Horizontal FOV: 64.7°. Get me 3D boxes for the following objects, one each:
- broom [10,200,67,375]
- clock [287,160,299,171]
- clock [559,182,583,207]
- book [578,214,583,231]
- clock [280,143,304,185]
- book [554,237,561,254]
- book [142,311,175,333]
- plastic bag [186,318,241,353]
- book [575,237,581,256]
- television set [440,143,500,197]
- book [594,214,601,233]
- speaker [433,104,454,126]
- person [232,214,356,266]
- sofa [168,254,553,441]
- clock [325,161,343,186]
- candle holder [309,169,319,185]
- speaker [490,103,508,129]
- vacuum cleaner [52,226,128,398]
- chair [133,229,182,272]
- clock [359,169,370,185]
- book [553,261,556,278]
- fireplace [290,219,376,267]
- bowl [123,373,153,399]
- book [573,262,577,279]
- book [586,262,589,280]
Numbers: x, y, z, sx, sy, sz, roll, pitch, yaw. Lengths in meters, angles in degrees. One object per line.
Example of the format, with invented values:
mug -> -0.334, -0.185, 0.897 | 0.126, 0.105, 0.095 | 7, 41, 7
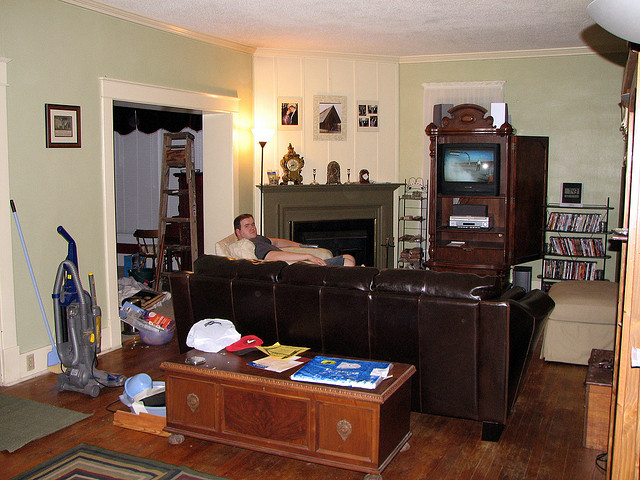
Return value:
broom -> -2.419, 0.558, 4.406 | 0.145, 1.801, 0.404 | 12, 11, 37
clock -> -0.376, -1.029, 6.924 | 0.139, 0.144, 0.029 | -1, 13, -6
clock -> 3.278, -0.558, 6.675 | 0.384, 0.361, 0.305 | 1, 2, 31
book -> 3.312, -0.227, 6.439 | 0.034, 0.209, 0.030 | 19, 3, 34
clock -> -0.382, -1.021, 6.951 | 0.327, 0.552, 0.137 | -2, -6, 3
book -> 3.066, 0.064, 6.544 | 0.039, 0.192, 0.027 | -19, -9, 11
book -> -1.608, 0.803, 5.024 | 0.237, 0.070, 0.171 | 24, 38, 3
plastic bag -> -0.735, 0.622, 3.533 | 0.321, 0.193, 0.266 | 10, 9, 39
book -> 3.293, 0.083, 6.461 | 0.033, 0.218, 0.085 | -8, 15, -30
television set -> 1.951, -0.915, 6.583 | 0.708, 0.676, 0.146 | 5, 14, 22
book -> 3.490, -0.209, 6.357 | 0.079, 0.216, 0.034 | -12, 17, -42
speaker -> 1.651, -1.699, 6.829 | 0.233, 0.289, 0.418 | 3, 12, 12
person -> -0.341, 0.054, 5.037 | 0.934, 0.622, 0.685 | 1, 7, -3
sofa -> 0.259, 0.569, 4.092 | 2.613, 1.029, 1.104 | 3, 18, 23
clock -> 0.188, -0.939, 7.068 | 0.299, 0.334, 0.296 | -1, 2, -17
candle holder -> -0.076, -0.887, 7.036 | 0.115, 0.203, 0.291 | 0, 12, 1
speaker -> 2.272, -1.597, 6.453 | 0.217, 0.322, 0.310 | 8, 15, 31
vacuum cleaner -> -1.862, 0.519, 4.054 | 0.404, 1.303, 0.459 | 10, 10, 38
chair -> -2.496, 0.158, 7.815 | 0.591, 0.824, 0.625 | 5, 8, 33
clock -> 0.632, -0.901, 7.203 | 0.200, 0.219, 0.199 | -4, 4, -28
book -> 3.020, 0.374, 6.515 | 0.018, 0.208, 0.043 | 7, 15, 30
fireplace -> 0.225, 0.233, 7.424 | 1.214, 1.117, 0.451 | -3, 5, -5
bowl -> -1.304, 1.054, 3.673 | 0.195, 0.110, 0.152 | -7, 14, -30
book -> 3.248, 0.385, 6.430 | 0.024, 0.187, 0.062 | 6, 14, 27
book -> 3.370, 0.377, 6.370 | 0.019, 0.197, 0.044 | 7, 14, 28
